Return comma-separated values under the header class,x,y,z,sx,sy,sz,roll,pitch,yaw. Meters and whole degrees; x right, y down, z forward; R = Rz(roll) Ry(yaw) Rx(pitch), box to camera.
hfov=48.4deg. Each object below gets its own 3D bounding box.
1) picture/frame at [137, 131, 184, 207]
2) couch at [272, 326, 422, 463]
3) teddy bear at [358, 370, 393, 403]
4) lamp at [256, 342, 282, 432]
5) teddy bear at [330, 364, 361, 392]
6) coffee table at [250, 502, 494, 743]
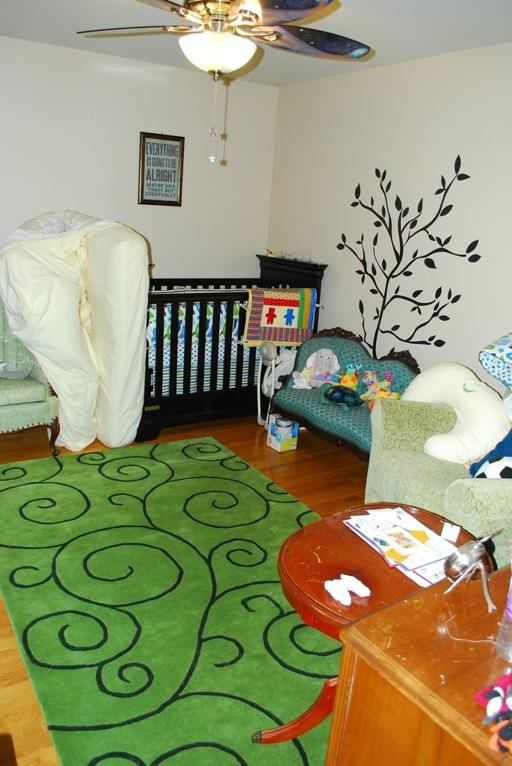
class,x,y,z,sx,sy,sz,roll,pitch,yaw
picture/frame,-0.769,-1.705,4.493,0.553,0.704,0.059,-8,22,-32
couch,0.590,0.049,3.547,0.519,0.561,0.949,-29,34,-29
teddy bear,0.758,0.020,3.587,0.179,0.184,0.113,-9,-4,1
lamp,0.075,0.017,4.125,0.090,0.666,0.174,-11,26,-37
teddy bear,0.608,-0.042,3.753,0.209,0.192,0.142,9,-8,23
coffee table,0.380,0.650,1.788,0.530,0.393,0.477,-15,37,2
